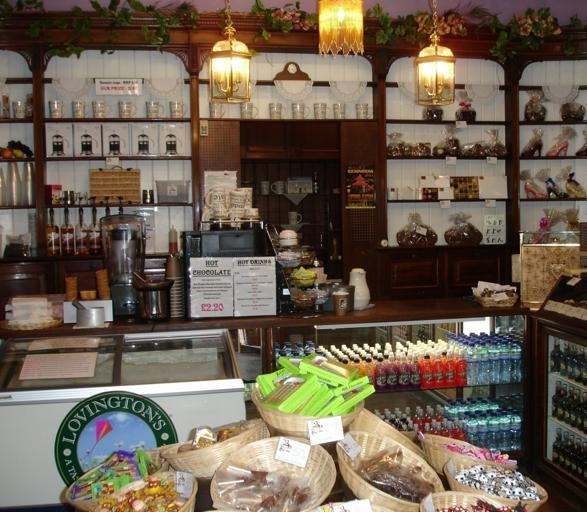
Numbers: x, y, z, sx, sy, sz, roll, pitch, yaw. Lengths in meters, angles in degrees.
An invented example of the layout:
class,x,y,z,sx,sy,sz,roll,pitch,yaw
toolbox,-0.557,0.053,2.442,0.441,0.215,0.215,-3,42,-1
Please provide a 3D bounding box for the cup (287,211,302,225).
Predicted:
class,x,y,z,sx,sy,sz,roll,pitch,yaw
cup,0.017,-0.429,5.708,0.183,0.155,0.110,0,-1,-22

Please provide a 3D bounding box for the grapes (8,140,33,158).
class,x,y,z,sx,sy,sz,roll,pitch,yaw
grapes,-2.781,-1.089,5.256,0.228,0.082,0.120,29,36,-20

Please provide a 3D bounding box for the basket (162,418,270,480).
class,x,y,z,sx,sy,sz,roll,pitch,yaw
basket,-0.244,0.626,1.677,0.226,0.066,0.200,-9,-11,-12

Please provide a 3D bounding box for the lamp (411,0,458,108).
class,x,y,z,sx,sy,sz,roll,pitch,yaw
lamp,1.108,-1.591,3.999,0.252,1.005,1.457,-2,6,18

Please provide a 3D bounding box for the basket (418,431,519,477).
class,x,y,z,sx,sy,sz,roll,pitch,yaw
basket,0.551,0.649,1.709,0.180,0.061,0.183,24,-10,-42

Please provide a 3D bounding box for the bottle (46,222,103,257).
class,x,y,z,sx,sy,sz,roll,pitch,yaw
bottle,-2.216,-0.178,5.225,0.512,0.319,0.271,-6,6,-22

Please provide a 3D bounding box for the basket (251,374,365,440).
class,x,y,z,sx,sy,sz,roll,pitch,yaw
basket,0.012,0.502,1.645,0.384,0.103,0.244,-1,6,16

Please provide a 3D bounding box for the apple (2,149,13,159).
class,x,y,z,sx,sy,sz,roll,pitch,yaw
apple,-2.877,-1.034,5.203,0.105,0.107,0.090,-6,7,-25

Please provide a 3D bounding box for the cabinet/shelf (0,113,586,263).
class,x,y,z,sx,sy,sz,roll,pitch,yaw
cabinet/shelf,0.272,-0.679,5.637,6.149,1.784,0.527,-4,6,-6

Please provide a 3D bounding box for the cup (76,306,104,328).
class,x,y,z,sx,sy,sz,roll,pitch,yaw
cup,-1.105,0.328,2.811,0.124,0.077,0.117,1,0,0

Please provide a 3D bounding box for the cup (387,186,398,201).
class,x,y,z,sx,sy,sz,roll,pitch,yaw
cup,1.112,-0.695,5.765,0.143,0.231,0.134,-1,8,0

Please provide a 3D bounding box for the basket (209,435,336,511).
class,x,y,z,sx,sy,sz,roll,pitch,yaw
basket,-0.038,0.622,1.522,0.250,0.055,0.240,6,19,21

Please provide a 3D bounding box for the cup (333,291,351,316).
class,x,y,z,sx,sy,sz,roll,pitch,yaw
cup,0.289,0.286,3.118,0.141,0.128,0.131,-1,4,0

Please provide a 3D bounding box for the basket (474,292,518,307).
class,x,y,z,sx,sy,sz,roll,pitch,yaw
basket,1.351,0.276,3.332,0.303,0.094,0.149,-5,6,-15

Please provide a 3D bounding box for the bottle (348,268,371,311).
class,x,y,z,sx,sy,sz,roll,pitch,yaw
bottle,0.434,0.211,3.369,0.114,0.245,0.286,-3,6,8

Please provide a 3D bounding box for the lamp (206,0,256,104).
class,x,y,z,sx,sy,sz,roll,pitch,yaw
lamp,-0.392,-1.165,3.166,0.255,0.446,0.166,-4,6,-1
